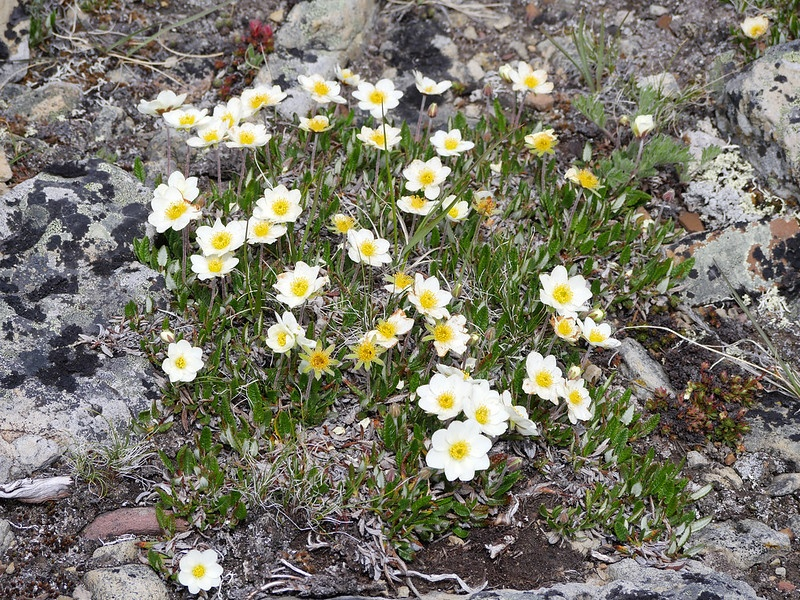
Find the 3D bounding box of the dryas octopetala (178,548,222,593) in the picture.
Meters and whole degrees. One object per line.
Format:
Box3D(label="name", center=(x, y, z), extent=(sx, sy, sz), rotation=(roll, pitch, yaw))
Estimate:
Box3D(label="dryas octopetala", center=(-1.101, 1.504, 4.207), extent=(0.238, 0.201, 0.189), rotation=(-11, 55, -18))
